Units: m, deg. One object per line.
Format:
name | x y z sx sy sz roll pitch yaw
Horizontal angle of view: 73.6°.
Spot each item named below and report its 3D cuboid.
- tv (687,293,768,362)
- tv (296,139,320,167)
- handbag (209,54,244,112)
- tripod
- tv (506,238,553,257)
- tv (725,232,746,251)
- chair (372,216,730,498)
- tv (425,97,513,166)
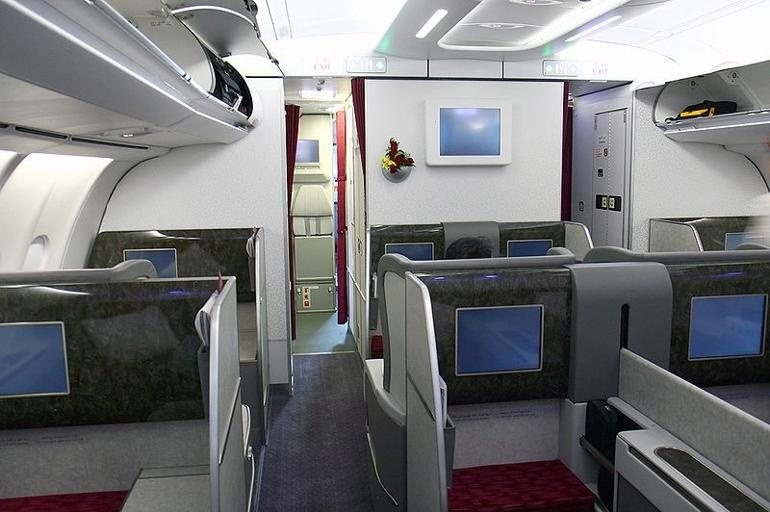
tv | 2.150 0.449 3.241 0.436 0.325 0.020 -1 3 -10
tv | -1.150 -1.511 7.536 0.448 0.452 0.045 1 5 -4
handbag | -1.288 -1.361 4.061 0.131 0.347 0.248 -12 12 21
tripod | 0.665 0.486 3.080 0.447 0.320 0.016 0 1 -9
tv | 1.684 -0.102 5.944 0.449 0.242 0.088 -3 3 -13
tv | 3.816 -0.160 5.549 0.212 0.210 0.021 3 -10 4
chair | 0.915 0.614 3.556 1.843 1.183 1.927 -1 9 -4
tv | 0.926 -1.437 5.871 0.792 0.578 0.102 0 1 -6
